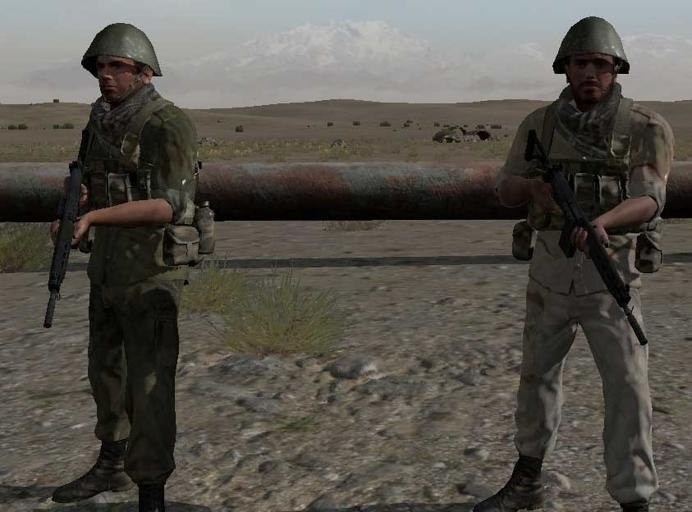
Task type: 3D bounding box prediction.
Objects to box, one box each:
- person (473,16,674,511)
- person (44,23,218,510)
[{"bbox_3d":[1.177,0.072,3.465,0.844,2.494,0.782,1,11,12],"label":"person"},{"bbox_3d":[-1.124,0.060,3.625,0.717,2.518,0.702,4,12,25],"label":"person"}]
